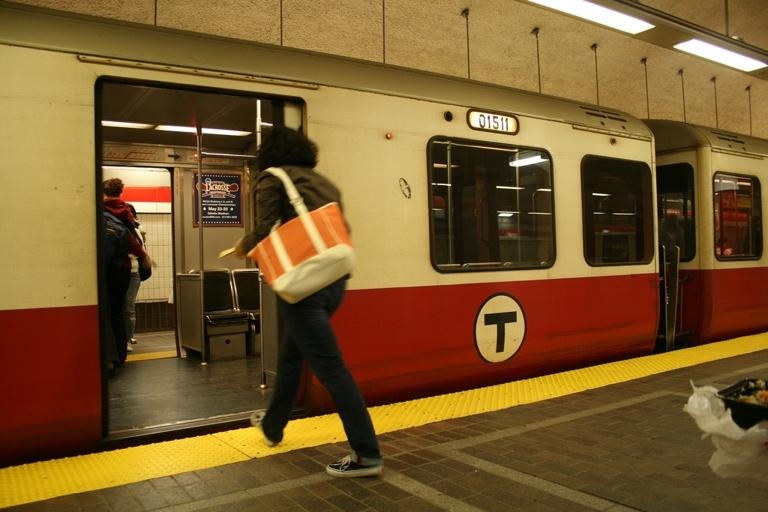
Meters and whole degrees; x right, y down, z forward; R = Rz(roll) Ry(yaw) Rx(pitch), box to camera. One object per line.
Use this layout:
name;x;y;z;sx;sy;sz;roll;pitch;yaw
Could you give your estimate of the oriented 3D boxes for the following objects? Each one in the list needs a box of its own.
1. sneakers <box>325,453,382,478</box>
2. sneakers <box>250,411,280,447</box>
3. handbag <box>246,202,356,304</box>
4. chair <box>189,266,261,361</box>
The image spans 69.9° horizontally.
sneakers;-0.225;1.575;4.166;0.384;0.154;0.173;3;-10;0
sneakers;-0.966;1.432;4.496;0.100;0.321;0.131;-37;-15;20
handbag;-0.571;-0.031;4.051;0.701;0.779;0.305;-34;-5;-9
chair;-2.265;0.878;7.773;1.410;1.220;0.837;1;-6;-45
